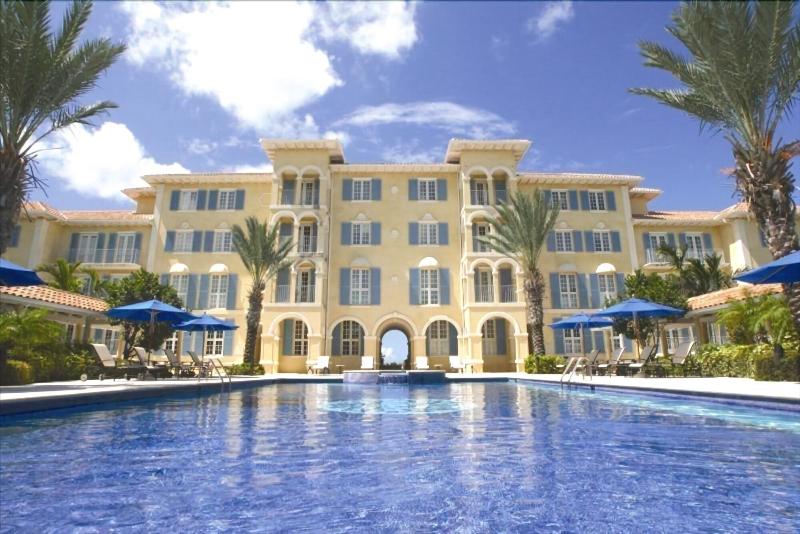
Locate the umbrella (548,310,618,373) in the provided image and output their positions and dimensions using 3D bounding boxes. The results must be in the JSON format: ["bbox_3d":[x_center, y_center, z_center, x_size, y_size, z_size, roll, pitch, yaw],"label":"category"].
[{"bbox_3d":[9.061,3.838,22.323,2.958,1.950,3.040,-11,-14,31],"label":"umbrella"}]

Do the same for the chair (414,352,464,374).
[{"bbox_3d":[2.467,6.324,28.619,3.134,1.128,2.613,-1,-12,1],"label":"chair"}]

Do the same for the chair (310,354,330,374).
[{"bbox_3d":[-5.038,6.106,27.231,0.971,1.213,1.144,-2,-14,9],"label":"chair"}]
